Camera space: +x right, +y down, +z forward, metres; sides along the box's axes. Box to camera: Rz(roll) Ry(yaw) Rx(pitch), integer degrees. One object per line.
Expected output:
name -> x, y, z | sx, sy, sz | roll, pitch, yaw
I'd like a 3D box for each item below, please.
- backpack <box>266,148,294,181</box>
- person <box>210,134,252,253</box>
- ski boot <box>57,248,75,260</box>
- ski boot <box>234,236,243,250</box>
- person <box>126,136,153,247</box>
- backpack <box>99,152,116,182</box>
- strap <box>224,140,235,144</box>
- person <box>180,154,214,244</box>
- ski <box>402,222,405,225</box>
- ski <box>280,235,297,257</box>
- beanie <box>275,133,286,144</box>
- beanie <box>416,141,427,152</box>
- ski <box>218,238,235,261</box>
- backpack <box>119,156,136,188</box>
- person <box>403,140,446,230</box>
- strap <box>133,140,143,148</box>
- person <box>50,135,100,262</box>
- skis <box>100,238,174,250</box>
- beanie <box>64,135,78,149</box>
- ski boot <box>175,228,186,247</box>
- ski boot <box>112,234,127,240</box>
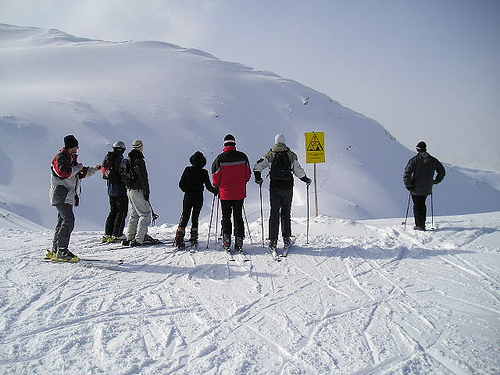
backpack -> 0.853, -0.503, 10.805 | 0.619, 0.887, 0.440 | -3, -18, 13
person -> -0.467, 0.160, 10.677 | 0.930, 2.790, 0.684 | 0, 12, -2
ski boot -> -4.263, 1.519, 9.967 | 0.376, 0.279, 0.093 | -6, 14, -26
ski boot -> -0.290, 1.375, 10.783 | 0.191, 0.339, 0.210 | 1, 13, 4
person -> -2.995, 0.159, 11.489 | 0.718, 2.748, 0.529 | -2, 13, -11
backpack -> -4.027, -0.434, 11.986 | 0.617, 0.859, 0.430 | 9, -31, -33
strap -> -0.514, -1.140, 10.684 | 0.219, 0.066, 0.102 | -1, 14, -5
person -> -1.428, 0.295, 11.331 | 0.846, 2.277, 0.604 | -1, 13, -6
ski -> 4.698, 1.088, 13.188 | 0.059, 0.065, 0.066 | -12, 44, 10
ski -> 0.960, 1.466, 10.885 | 0.072, 0.075, 0.681 | -5, 34, 29
beanie -> 0.756, -1.192, 10.838 | 0.257, 0.324, 0.303 | 1, 15, -1
beanie -> 4.938, -1.149, 12.433 | 0.220, 0.386, 0.775 | 5, 15, 19
ski -> -0.598, 1.541, 10.747 | 0.114, 0.098, 1.088 | -33, 27, -11
backpack -> -3.220, -0.423, 11.343 | 0.301, 0.763, 0.491 | -10, 17, -39
person -> 4.973, -0.044, 12.574 | 0.958, 2.508, 0.840 | -8, 15, -34
strap -> -2.987, -1.153, 11.407 | 0.172, 0.079, 0.160 | -7, -5, 29
person -> -4.239, 0.277, 10.084 | 0.991, 2.928, 0.945 | -6, 14, -26
skis -> -3.114, 1.502, 11.651 | 1.729, 0.138, 0.196 | 0, 21, -25
beanie -> -4.120, -1.048, 9.890 | 0.300, 0.319, 0.280 | -7, 11, -26
ski boot -> -1.833, 1.284, 11.279 | 0.155, 0.417, 0.265 | -6, -5, 45
ski boot -> -3.740, 1.378, 12.310 | 0.372, 0.140, 0.475 | -4, 15, -17
